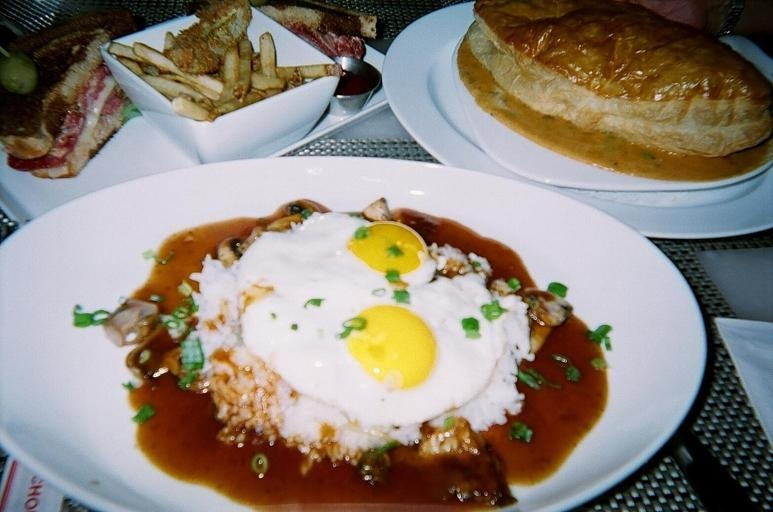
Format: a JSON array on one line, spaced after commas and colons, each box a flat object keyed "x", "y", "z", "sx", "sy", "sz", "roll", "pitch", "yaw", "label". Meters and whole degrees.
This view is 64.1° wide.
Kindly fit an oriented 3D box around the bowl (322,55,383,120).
[{"x": -0.234, "y": -1.195, "z": 4.341, "sx": 0.473, "sy": 0.322, "sz": 0.440, "roll": 13, "pitch": 110, "yaw": 38, "label": "bowl"}]

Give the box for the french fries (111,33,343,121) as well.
[{"x": -1.008, "y": -1.117, "z": 3.872, "sx": 0.896, "sy": 0.273, "sz": 0.866, "roll": -23, "pitch": 50, "yaw": -31, "label": "french fries"}]
